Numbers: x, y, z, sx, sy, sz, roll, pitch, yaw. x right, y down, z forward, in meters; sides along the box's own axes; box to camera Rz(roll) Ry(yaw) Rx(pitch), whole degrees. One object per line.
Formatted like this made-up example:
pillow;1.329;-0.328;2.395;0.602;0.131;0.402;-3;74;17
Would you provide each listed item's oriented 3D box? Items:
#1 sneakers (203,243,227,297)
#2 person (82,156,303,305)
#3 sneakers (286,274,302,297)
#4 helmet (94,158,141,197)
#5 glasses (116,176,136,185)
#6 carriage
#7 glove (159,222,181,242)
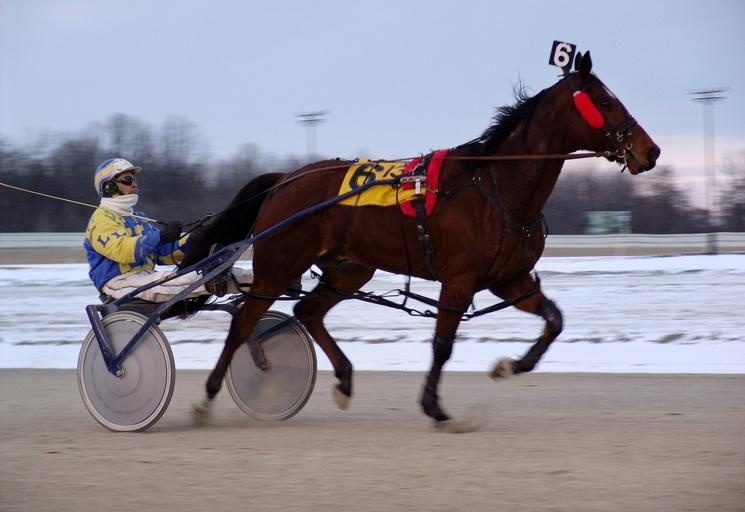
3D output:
sneakers;-1.268;0.108;10.565;0.179;0.403;0.190;6;12;-15
person;-1.497;-0.209;10.507;1.816;1.076;0.908;3;13;29
sneakers;-0.639;0.244;10.756;0.209;0.157;0.175;-1;-30;-3
helmet;-2.051;-0.654;10.633;0.430;0.235;0.281;-15;8;-2
glasses;-2.008;-0.608;10.629;0.098;0.031;0.102;1;-9;-26
carriage;0.013;0.087;10.691;5.172;2.533;1.636;-8;-10;29
glove;-1.591;-0.184;10.336;0.163;0.158;0.065;15;-5;3
